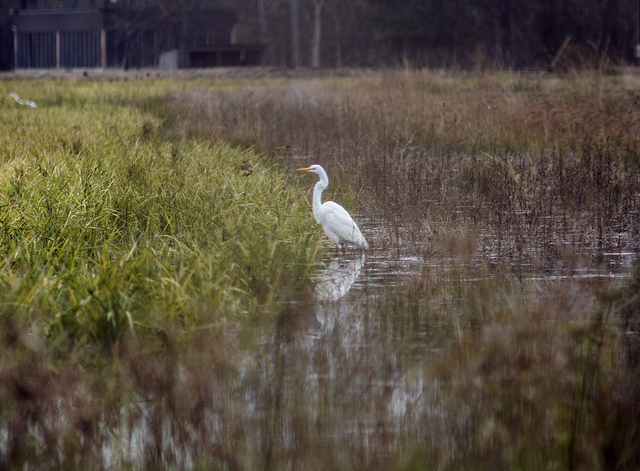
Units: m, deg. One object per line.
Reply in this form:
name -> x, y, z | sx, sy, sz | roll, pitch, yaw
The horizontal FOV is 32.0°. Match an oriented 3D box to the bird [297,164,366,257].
bird -> 0.165, -0.306, 14.899 | 0.564, 0.976, 1.132 | -4, 18, -29
